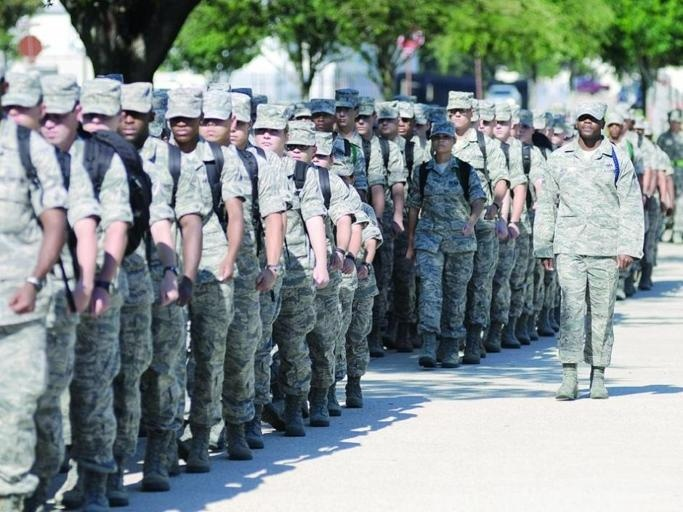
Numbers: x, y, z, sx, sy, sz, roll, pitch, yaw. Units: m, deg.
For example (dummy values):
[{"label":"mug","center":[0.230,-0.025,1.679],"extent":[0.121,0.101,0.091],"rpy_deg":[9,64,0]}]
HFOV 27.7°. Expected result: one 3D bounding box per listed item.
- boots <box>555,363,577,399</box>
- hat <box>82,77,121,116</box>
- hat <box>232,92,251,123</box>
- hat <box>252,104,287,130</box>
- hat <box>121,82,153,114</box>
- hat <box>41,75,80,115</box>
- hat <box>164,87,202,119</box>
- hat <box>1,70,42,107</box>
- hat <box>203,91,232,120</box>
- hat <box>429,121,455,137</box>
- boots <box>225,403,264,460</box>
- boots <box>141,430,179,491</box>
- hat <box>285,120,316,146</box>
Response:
[{"label":"boots","center":[2.086,1.146,12.995],"extent":[0.200,0.367,0.546],"rpy_deg":[1,1,18]},{"label":"hat","center":[-1.645,-1.138,9.426],"extent":[0.247,0.106,0.360],"rpy_deg":[-7,-1,3]},{"label":"hat","center":[-0.794,-1.164,10.746],"extent":[0.146,0.231,0.321],"rpy_deg":[-2,6,-5]},{"label":"hat","center":[-0.600,-1.166,11.457],"extent":[0.329,0.149,0.488],"rpy_deg":[2,10,5]},{"label":"hat","center":[-1.433,-1.132,9.802],"extent":[0.180,0.215,0.452],"rpy_deg":[1,7,16]},{"label":"hat","center":[-1.816,-1.054,8.902],"extent":[0.229,0.263,0.186],"rpy_deg":[-2,7,-10]},{"label":"hat","center":[-1.169,-1.171,10.033],"extent":[0.317,0.145,0.462],"rpy_deg":[3,33,-2]},{"label":"hat","center":[-2.018,-1.057,8.681],"extent":[0.242,0.225,0.130],"rpy_deg":[-3,7,-14]},{"label":"hat","center":[-0.943,-1.144,10.365],"extent":[0.222,0.232,0.161],"rpy_deg":[-2,7,-12]},{"label":"hat","center":[1.063,-1.379,14.785],"extent":[0.275,0.117,0.374],"rpy_deg":[1,1,8]},{"label":"boots","center":[-0.784,1.398,10.790],"extent":[0.260,0.297,0.467],"rpy_deg":[-2,6,-5]},{"label":"boots","center":[-1.318,1.437,9.756],"extent":[0.203,0.420,0.170],"rpy_deg":[-2,7,-9]},{"label":"hat","center":[-0.354,-1.057,11.678],"extent":[0.192,0.230,0.112],"rpy_deg":[0,2,-5]}]
